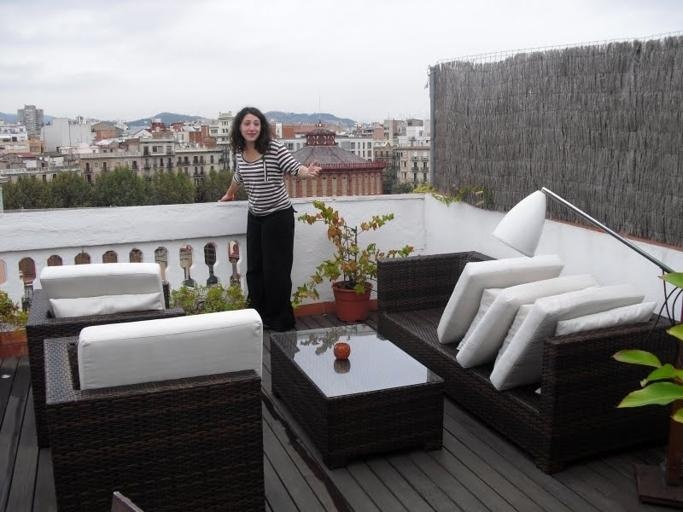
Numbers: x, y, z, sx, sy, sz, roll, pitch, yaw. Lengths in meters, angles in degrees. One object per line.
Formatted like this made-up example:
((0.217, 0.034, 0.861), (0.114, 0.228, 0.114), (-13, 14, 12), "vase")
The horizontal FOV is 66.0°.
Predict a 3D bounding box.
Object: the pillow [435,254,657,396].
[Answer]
((1.010, 0.276, 2.788), (0.797, 0.557, 0.775), (-1, 27, -39), "pillow")

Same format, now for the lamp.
((1.417, -0.003, 2.979), (1.210, 0.517, 0.266), (23, -17, 12), "lamp")

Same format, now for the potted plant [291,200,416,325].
((0.108, 0.067, 4.816), (1.088, 1.088, 0.984), (4, -2, -35), "potted plant")

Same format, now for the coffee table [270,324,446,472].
((0.132, 0.632, 3.099), (0.600, 0.386, 1.138), (-5, 20, -9), "coffee table")
